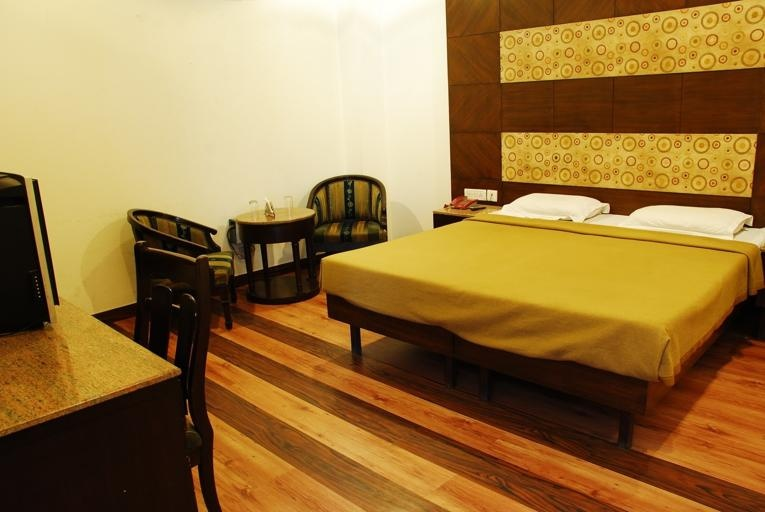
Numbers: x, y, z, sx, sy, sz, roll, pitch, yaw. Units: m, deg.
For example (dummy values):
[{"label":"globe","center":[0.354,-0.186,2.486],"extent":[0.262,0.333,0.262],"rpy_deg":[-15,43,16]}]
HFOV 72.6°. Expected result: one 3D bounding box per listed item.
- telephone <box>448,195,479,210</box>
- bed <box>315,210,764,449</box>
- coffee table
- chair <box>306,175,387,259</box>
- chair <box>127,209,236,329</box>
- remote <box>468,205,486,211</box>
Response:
[{"label":"telephone","center":[0.834,-0.576,5.300],"extent":[0.184,0.069,0.196],"rpy_deg":[11,18,36]},{"label":"bed","center":[1.091,0.378,3.671],"extent":[2.595,0.836,1.627],"rpy_deg":[7,21,27]},{"label":"coffee table","center":[-0.983,-0.031,5.076],"extent":[0.807,0.810,0.760],"rpy_deg":[-10,15,-42]},{"label":"chair","center":[-0.385,-0.386,5.464],"extent":[0.822,0.827,0.672],"rpy_deg":[-6,20,-8]},{"label":"chair","center":[-1.691,0.104,4.533],"extent":[0.772,0.943,0.766],"rpy_deg":[-1,17,-7]},{"label":"remote","center":[0.952,-0.484,5.248],"extent":[0.096,0.022,0.097],"rpy_deg":[13,20,41]}]
